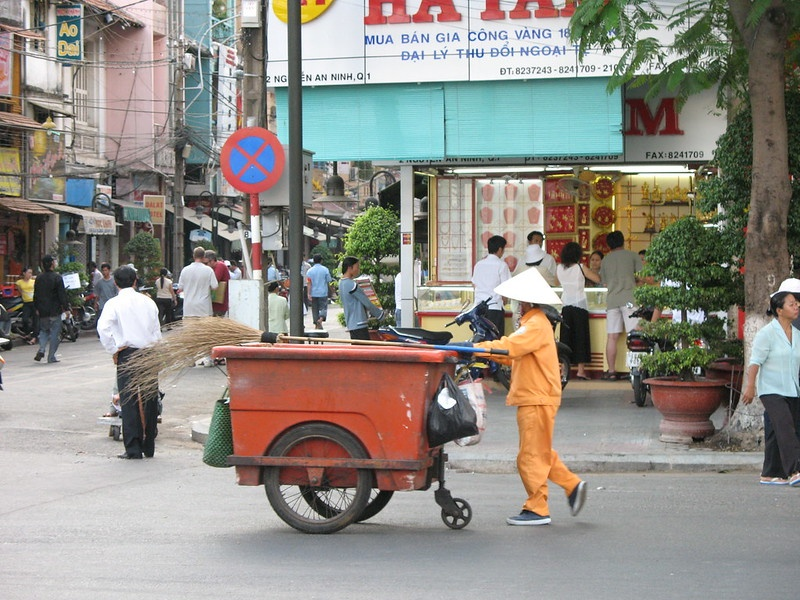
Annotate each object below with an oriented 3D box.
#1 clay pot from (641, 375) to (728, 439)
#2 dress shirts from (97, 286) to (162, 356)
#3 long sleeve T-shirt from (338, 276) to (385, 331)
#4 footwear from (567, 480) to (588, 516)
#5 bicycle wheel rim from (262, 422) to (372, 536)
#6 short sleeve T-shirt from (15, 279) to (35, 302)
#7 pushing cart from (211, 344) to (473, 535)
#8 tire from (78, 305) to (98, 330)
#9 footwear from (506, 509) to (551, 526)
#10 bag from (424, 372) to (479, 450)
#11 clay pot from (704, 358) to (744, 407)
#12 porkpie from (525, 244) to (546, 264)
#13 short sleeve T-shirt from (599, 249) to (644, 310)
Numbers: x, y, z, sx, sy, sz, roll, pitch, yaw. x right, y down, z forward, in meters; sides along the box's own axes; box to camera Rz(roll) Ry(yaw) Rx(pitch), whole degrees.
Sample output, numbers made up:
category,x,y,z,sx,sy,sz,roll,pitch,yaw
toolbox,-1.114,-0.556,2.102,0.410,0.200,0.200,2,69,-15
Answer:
category,x,y,z,sx,sy,sz,roll,pitch,yaw
clay pot,3.596,1.382,18.755,0.816,0.596,0.795,0,-1,0
dress shirts,-3.382,0.281,18.488,0.742,0.793,0.542,-3,10,-14
long sleeve T-shirt,-0.631,0.091,22.488,0.492,0.796,0.809,-2,10,-8
footwear,1.875,2.089,15.724,0.156,0.410,0.147,20,46,25
bicycle wheel rim,-0.859,1.840,15.472,1.098,1.145,0.199,2,5,4
short sleeve T-shirt,-7.546,-0.189,29.902,0.455,0.448,0.247,0,-4,-29
pushing cart,-0.545,1.466,16.005,2.304,1.745,1.878,0,-3,6
tire,-7.066,0.390,33.536,0.507,0.528,0.203,2,-7,3
footwear,1.366,2.316,15.831,0.448,0.214,0.178,3,-3,1
bag,0.510,1.140,15.305,0.702,0.919,0.353,-7,1,1
clay pot,4.217,1.044,19.222,0.567,0.431,0.581,0,6,0
porkpie,2.136,-0.730,23.646,0.243,0.184,0.326,-1,-1,14
short sleeve T-shirt,3.389,-0.312,23.006,0.669,0.910,0.377,4,10,23
